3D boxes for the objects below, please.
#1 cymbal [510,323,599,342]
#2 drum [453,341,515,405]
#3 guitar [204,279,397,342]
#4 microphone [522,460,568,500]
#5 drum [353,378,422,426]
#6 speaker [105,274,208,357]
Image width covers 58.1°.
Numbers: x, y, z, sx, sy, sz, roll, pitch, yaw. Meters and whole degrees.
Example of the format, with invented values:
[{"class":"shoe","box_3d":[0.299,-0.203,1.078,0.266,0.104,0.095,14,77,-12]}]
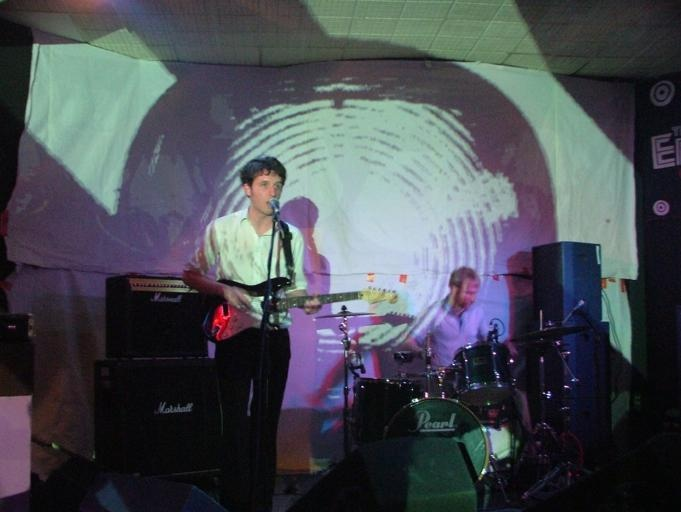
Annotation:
[{"class":"cymbal","box_3d":[1.565,0.592,4.623,0.312,0.078,0.309,-5,2,0]},{"class":"drum","box_3d":[1.053,0.867,4.757,0.447,0.362,0.451,-19,-32,32]},{"class":"guitar","box_3d":[-0.326,0.348,3.919,1.040,0.401,0.435,2,-7,-16]},{"class":"microphone","box_3d":[1.480,1.635,4.458,0.393,0.221,0.154,4,-8,-30]},{"class":"drum","box_3d":[0.319,1.080,4.586,0.357,0.282,0.374,0,-3,0]},{"class":"speaker","box_3d":[-1.313,0.429,4.653,0.806,0.829,0.583,3,-6,-33]}]
